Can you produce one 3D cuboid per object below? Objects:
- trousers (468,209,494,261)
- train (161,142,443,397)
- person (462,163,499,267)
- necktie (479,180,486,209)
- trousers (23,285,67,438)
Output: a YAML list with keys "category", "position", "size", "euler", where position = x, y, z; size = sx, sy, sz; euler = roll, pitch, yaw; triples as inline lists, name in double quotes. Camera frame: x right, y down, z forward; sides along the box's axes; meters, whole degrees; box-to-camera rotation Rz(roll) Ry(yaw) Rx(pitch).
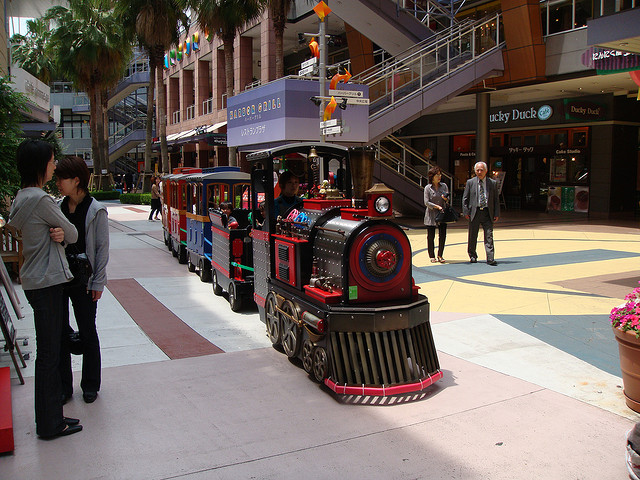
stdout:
- category: "trousers"
  position: [4.013, -0.135, 11.779]
  size: [0.444, 1.278, 0.817]
  euler: [-3, 7, -29]
- category: "train"
  position: [-0.587, -0.070, 9.199]
  size: [2.037, 3.292, 9.051]
  euler: [-2, 7, -21]
- category: "person"
  position: [3.984, -0.630, 11.684]
  size: [0.805, 2.474, 0.848]
  euler: [-1, 6, -10]
- category: "necktie"
  position: [3.972, -1.104, 11.565]
  size: [0.120, 0.626, 0.154]
  euler: [0, 6, -5]
- category: "trousers"
  position: [-2.517, 1.106, 4.378]
  size: [0.295, 1.355, 0.394]
  euler: [-4, 7, -33]
